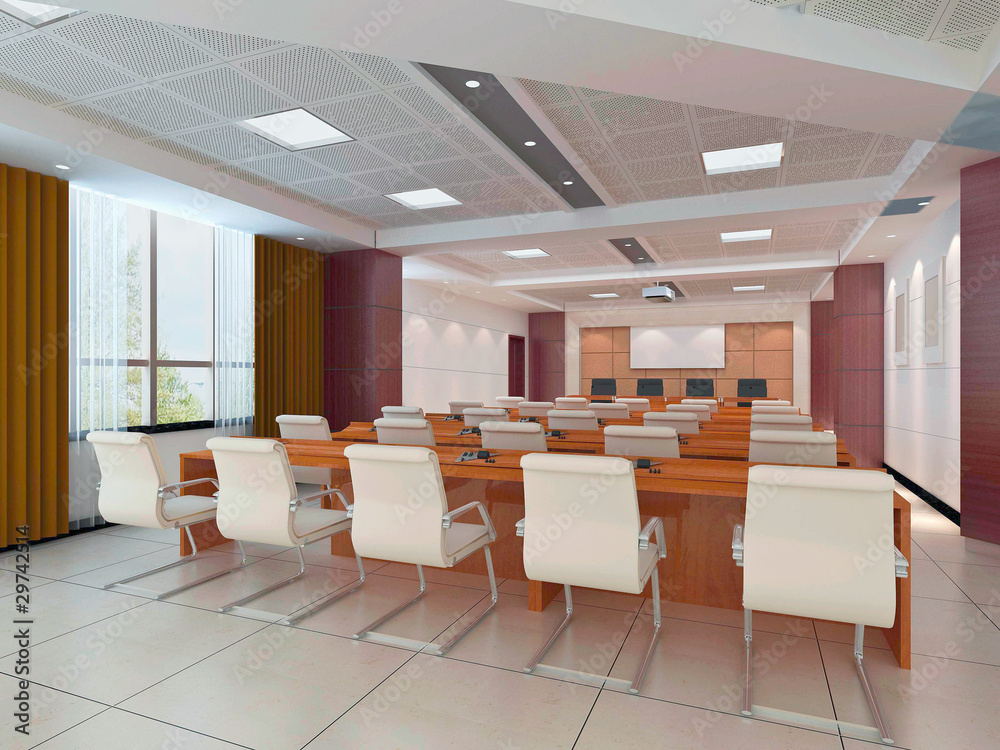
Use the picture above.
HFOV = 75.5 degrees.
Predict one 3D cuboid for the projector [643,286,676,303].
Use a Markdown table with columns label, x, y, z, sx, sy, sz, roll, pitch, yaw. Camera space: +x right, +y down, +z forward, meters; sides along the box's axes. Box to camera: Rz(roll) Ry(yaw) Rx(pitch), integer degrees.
| label | x | y | z | sx | sy | sz | roll | pitch | yaw |
| --- | --- | --- | --- | --- | --- | --- | --- | --- | --- |
| projector | 3.137 | -1.618 | 12.881 | 0.560 | 0.341 | 0.948 | 1 | 8 | 10 |
